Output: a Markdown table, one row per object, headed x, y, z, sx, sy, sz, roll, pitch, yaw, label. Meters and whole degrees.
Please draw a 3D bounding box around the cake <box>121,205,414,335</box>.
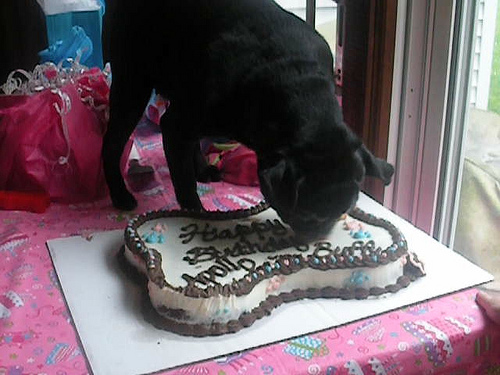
| x | y | z | sx | sy | sz | roll | pitch | yaw | label |
| --- | --- | --- | --- | --- | --- | --- | --- | --- | --- |
| 0.048 | 0.215 | 1.265 | 0.546 | 0.122 | 0.450 | -6 | 22 | -9 | cake |
